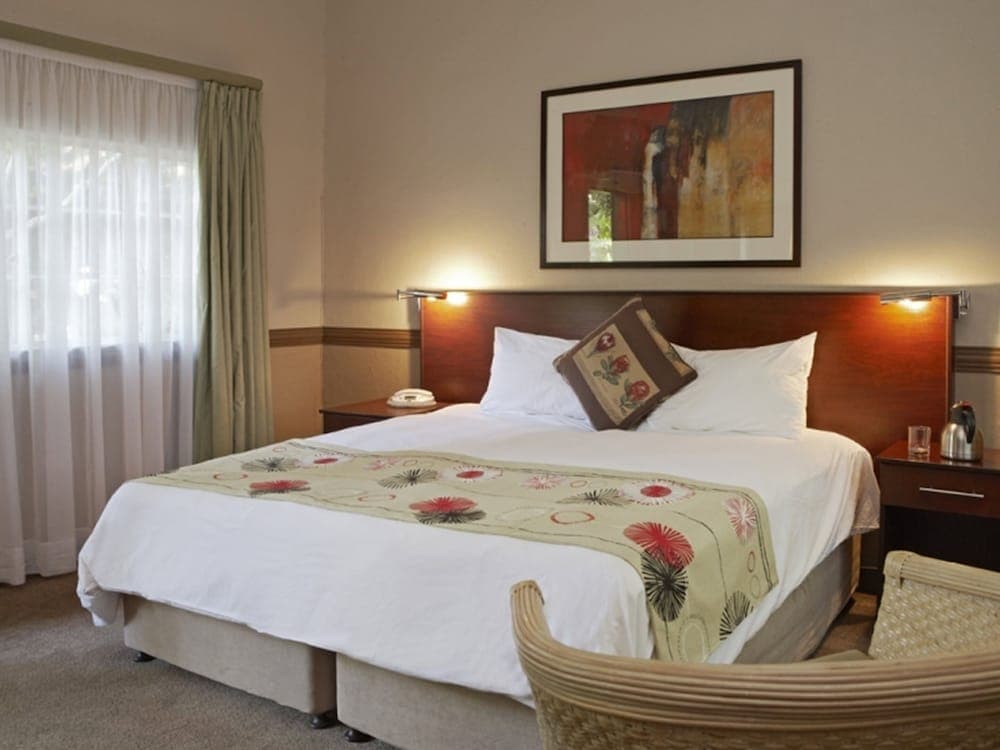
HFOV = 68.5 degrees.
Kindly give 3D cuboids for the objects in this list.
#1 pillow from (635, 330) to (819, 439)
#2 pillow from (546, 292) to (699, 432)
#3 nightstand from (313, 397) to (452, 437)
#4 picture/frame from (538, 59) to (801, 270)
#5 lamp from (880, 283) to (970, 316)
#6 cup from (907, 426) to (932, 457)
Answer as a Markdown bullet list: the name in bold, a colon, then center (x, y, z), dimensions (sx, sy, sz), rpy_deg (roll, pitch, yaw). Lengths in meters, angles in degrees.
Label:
- **pillow**: center (1.156, 0.042, 3.684), dimensions (0.772, 0.481, 0.455), rpy_deg (4, 9, 19)
- **pillow**: center (0.613, -0.004, 3.834), dimensions (0.699, 0.747, 0.171), rpy_deg (-31, 28, -4)
- **nightstand**: center (-0.782, 0.241, 4.456), dimensions (0.375, 0.234, 0.372), rpy_deg (-6, 7, -34)
- **picture/frame**: center (1.009, -1.191, 4.124), dimensions (1.297, 0.918, 0.034), rpy_deg (1, 1, 29)
- **lamp**: center (2.070, -0.352, 3.573), dimensions (0.364, 0.135, 0.283), rpy_deg (6, 10, 32)
- **cup**: center (1.886, 0.307, 3.296), dimensions (0.109, 0.174, 0.111), rpy_deg (2, -6, 0)
